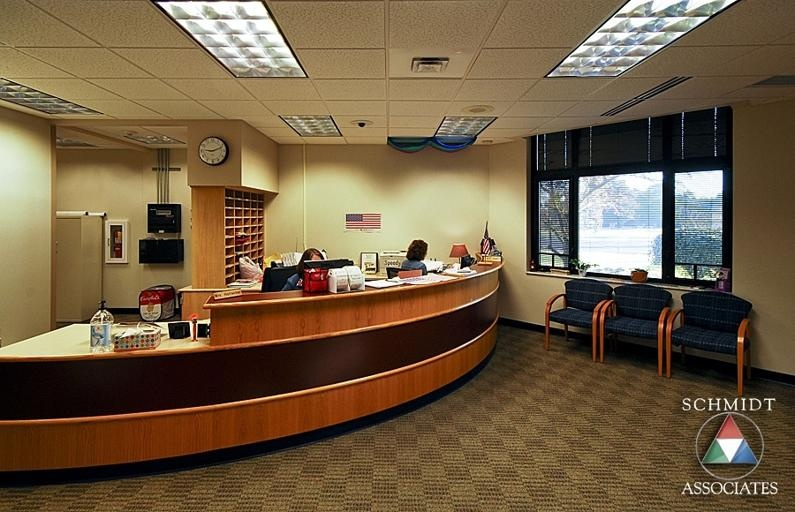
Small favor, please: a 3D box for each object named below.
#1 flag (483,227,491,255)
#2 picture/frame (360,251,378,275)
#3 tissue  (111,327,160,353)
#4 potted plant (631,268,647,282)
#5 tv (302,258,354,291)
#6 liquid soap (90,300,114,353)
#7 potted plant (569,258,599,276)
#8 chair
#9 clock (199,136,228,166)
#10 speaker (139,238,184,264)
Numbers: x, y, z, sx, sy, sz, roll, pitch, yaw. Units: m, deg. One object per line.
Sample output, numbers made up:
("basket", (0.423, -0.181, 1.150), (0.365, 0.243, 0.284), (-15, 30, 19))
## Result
("flag", (1.693, -0.275, 9.884), (0.198, 0.442, 0.772), (0, 5, 9))
("picture/frame", (-0.464, 0.126, 9.062), (0.320, 0.338, 0.313), (-1, 5, -5))
("tissue ", (-2.985, 0.948, 6.082), (0.521, 0.222, 0.370), (-2, 5, -15))
("potted plant", (4.010, 0.316, 8.752), (0.213, 0.158, 0.219), (-1, 5, -5))
("tv", (-0.895, 0.235, 6.663), (0.682, 0.382, 0.482), (-1, 5, -10))
("liquid soap", (-3.377, 0.839, 6.047), (0.236, 0.458, 0.415), (-3, 5, -29))
("potted plant", (3.324, 0.194, 9.468), (0.344, 0.185, 0.338), (-1, 4, -29))
("chair", (3.936, 1.159, 8.244), (2.632, 1.390, 0.874), (3, 6, 35))
("clock", (-2.942, -1.698, 8.447), (0.500, 0.478, 0.065), (0, -1, 1))
("speaker", (-4.663, -0.106, 10.542), (0.949, 0.461, 0.613), (-1, -5, -11))
